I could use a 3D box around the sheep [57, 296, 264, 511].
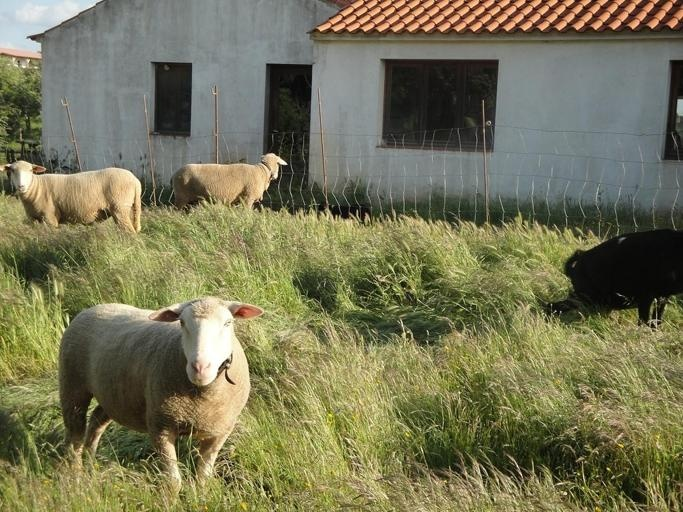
[{"bbox_3d":[-1.834,1.343,9.002,2.660,2.161,1.155,3,2,43],"label":"sheep"}]

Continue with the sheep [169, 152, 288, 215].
[{"bbox_3d":[-1.834,-1.199,15.582,1.769,0.958,0.648,-1,9,-35],"label":"sheep"}]
